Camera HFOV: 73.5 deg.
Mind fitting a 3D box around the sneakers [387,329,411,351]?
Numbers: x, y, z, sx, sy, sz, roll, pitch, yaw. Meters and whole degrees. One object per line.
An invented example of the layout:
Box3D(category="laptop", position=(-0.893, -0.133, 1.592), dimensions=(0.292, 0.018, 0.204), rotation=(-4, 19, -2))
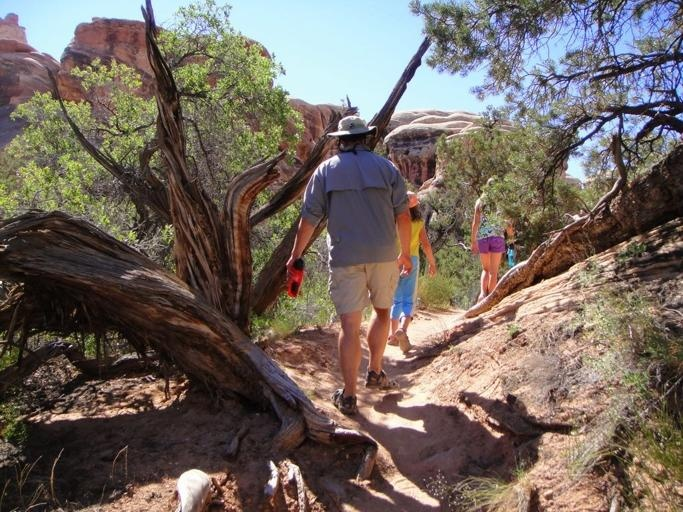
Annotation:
Box3D(category="sneakers", position=(0.789, 1.129, 6.090), dimensions=(0.158, 0.201, 0.465), rotation=(-12, -41, 18))

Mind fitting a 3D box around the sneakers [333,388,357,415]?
Box3D(category="sneakers", position=(0.027, 1.350, 4.246), dimensions=(0.115, 0.144, 0.293), rotation=(3, -1, -10))

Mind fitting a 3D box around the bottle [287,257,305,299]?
Box3D(category="bottle", position=(-0.425, 0.238, 4.072), dimensions=(0.110, 0.415, 0.156), rotation=(10, 20, 8))

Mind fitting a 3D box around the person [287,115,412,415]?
Box3D(category="person", position=(0.126, 0.034, 4.298), dimensions=(1.060, 2.724, 0.812), rotation=(-1, -1, -14))
